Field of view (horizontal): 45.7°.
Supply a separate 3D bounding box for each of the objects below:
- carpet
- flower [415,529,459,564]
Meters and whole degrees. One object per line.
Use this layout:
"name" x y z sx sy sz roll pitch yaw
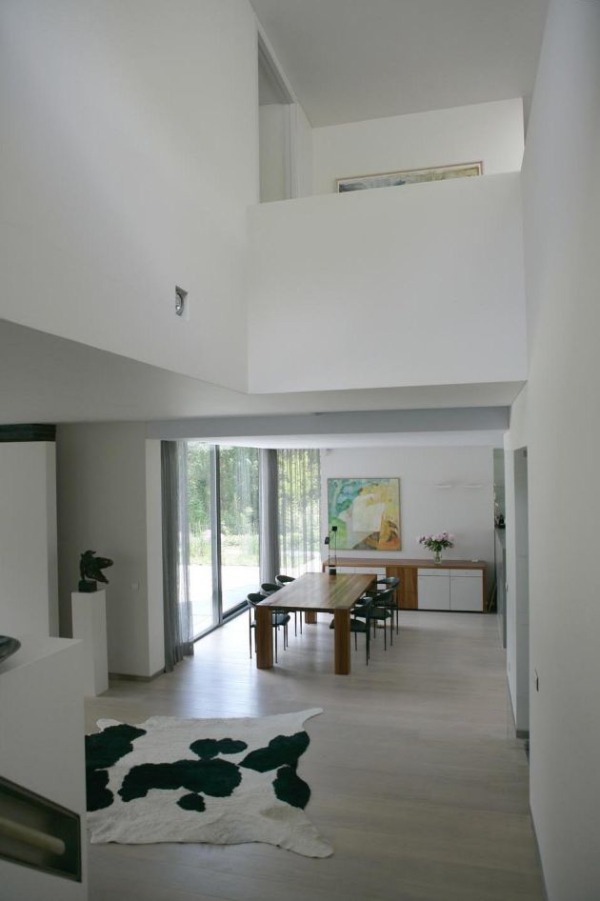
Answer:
"carpet" -0.737 2.286 4.970 1.902 0.047 1.954 -2 -1 4
"flower" 2.066 1.436 10.663 0.409 0.418 0.437 3 -6 -13
